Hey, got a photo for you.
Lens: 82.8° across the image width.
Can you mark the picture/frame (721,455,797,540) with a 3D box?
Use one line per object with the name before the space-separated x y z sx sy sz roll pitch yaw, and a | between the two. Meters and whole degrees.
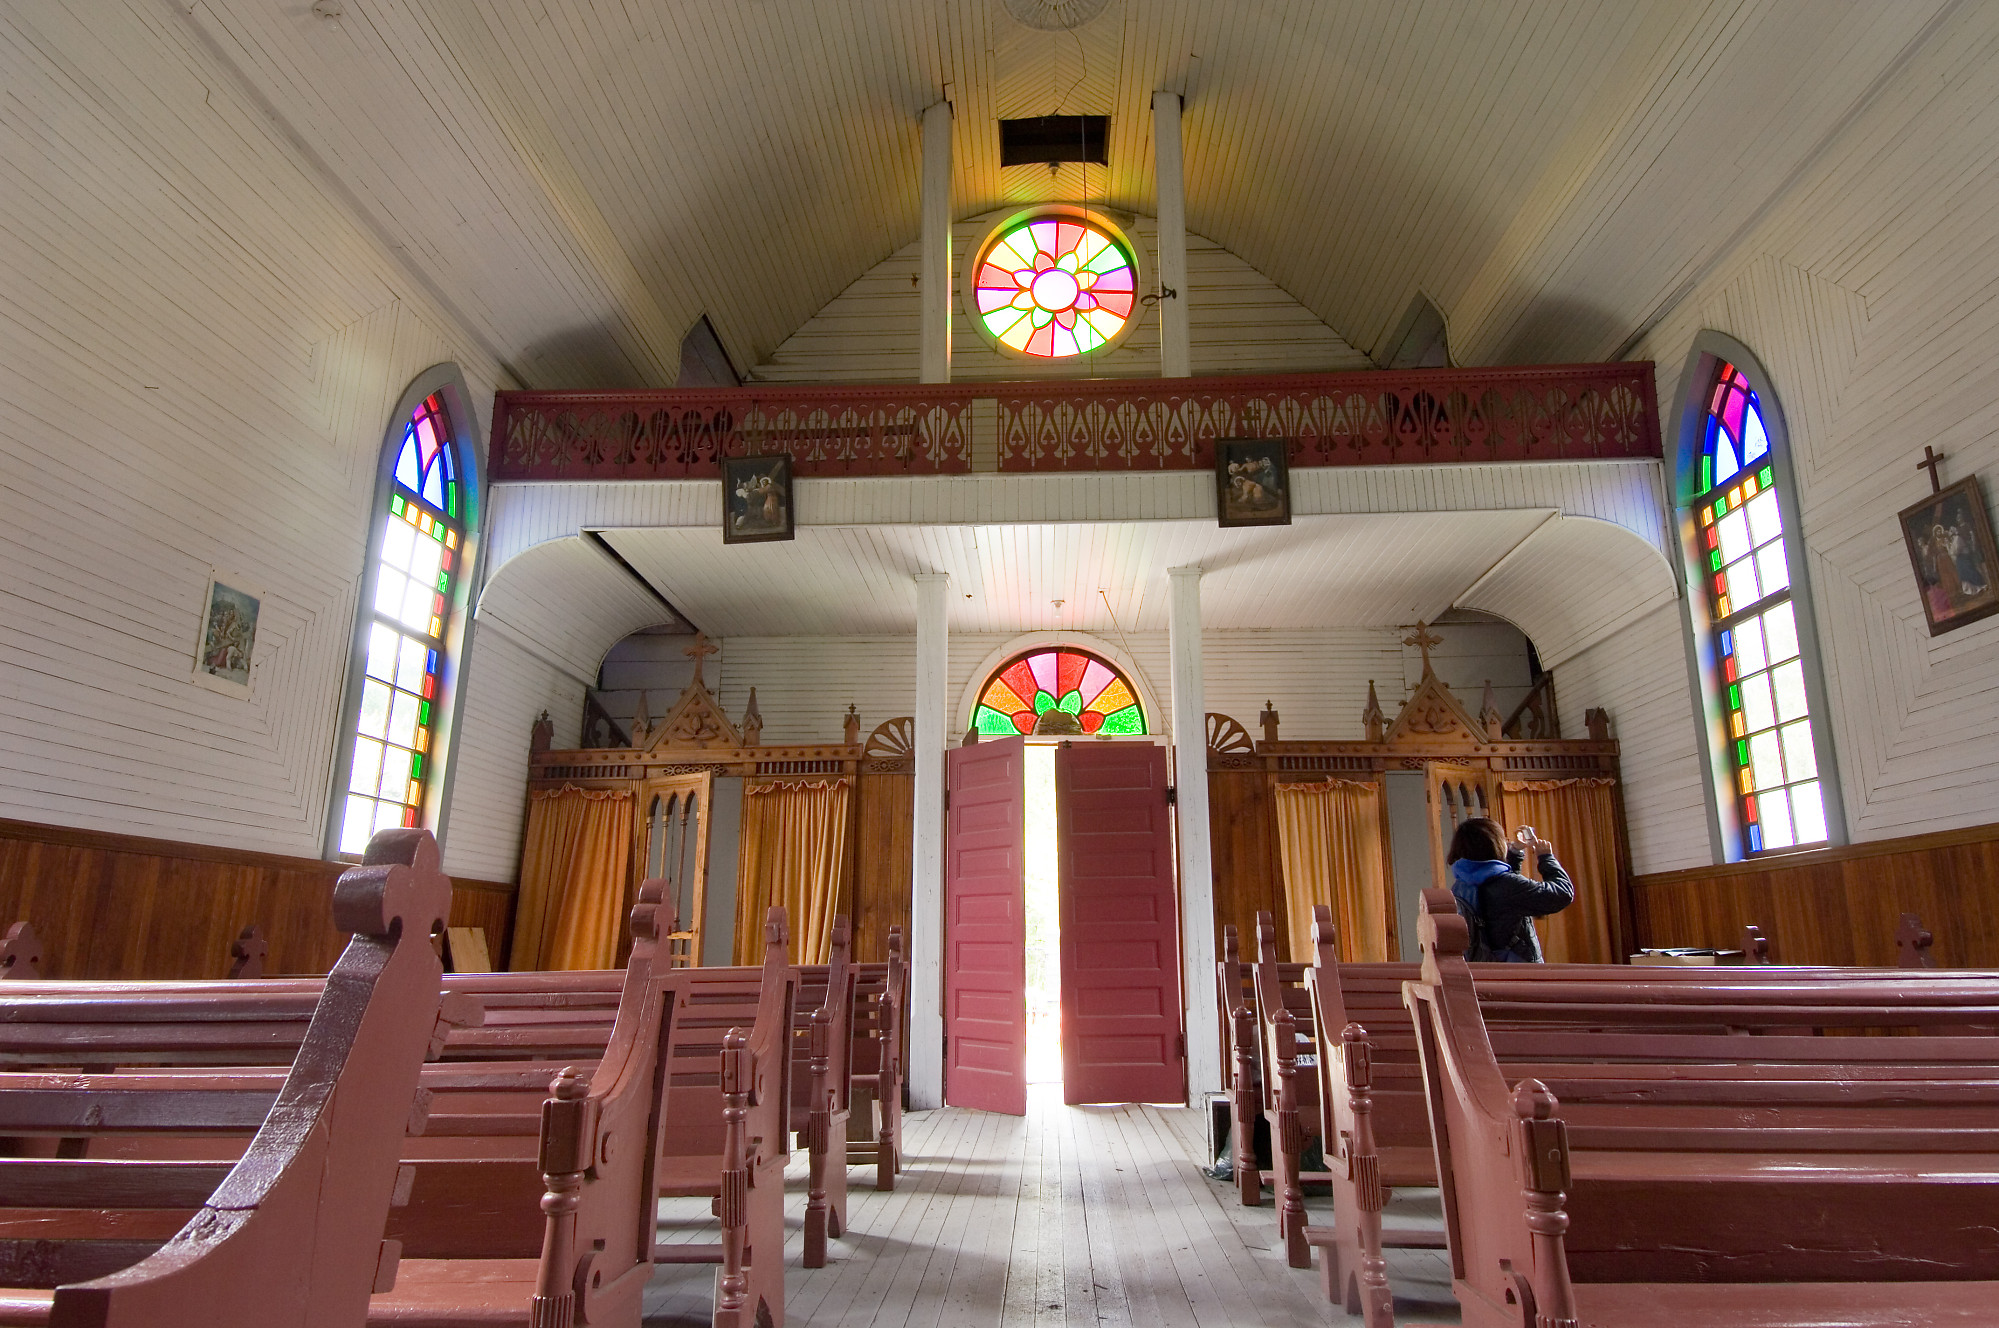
picture/frame | -2.039 -1.412 9.585 0.669 0.784 0.123 -2 -12 0
